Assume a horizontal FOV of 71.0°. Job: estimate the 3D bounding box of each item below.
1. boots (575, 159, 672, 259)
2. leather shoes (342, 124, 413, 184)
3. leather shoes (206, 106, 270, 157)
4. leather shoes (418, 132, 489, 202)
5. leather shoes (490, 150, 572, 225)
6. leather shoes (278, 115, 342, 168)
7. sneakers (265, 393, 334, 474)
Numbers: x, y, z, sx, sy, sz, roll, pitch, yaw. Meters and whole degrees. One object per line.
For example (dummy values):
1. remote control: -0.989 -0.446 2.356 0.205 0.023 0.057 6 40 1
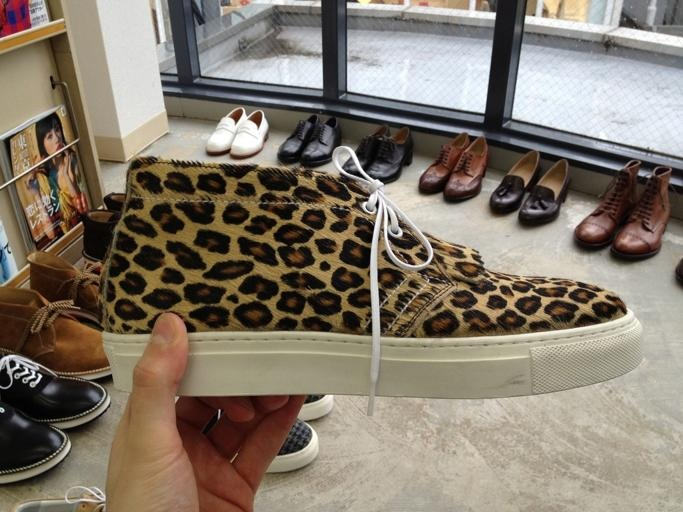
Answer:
1. boots: 1.169 -0.163 1.954 0.289 0.204 0.475 22 49 29
2. leather shoes: 0.205 -0.500 2.380 0.276 0.185 0.472 32 40 20
3. leather shoes: -0.570 -0.678 2.620 0.287 0.186 0.383 6 32 4
4. leather shoes: 0.545 -0.415 2.282 0.248 0.163 0.417 23 48 25
5. leather shoes: 0.837 -0.282 2.112 0.299 0.154 0.412 23 53 28
6. leather shoes: -0.161 -0.599 2.518 0.270 0.152 0.413 18 36 13
7. sneakers: -0.109 0.454 1.248 0.096 0.100 0.255 5 19 9
